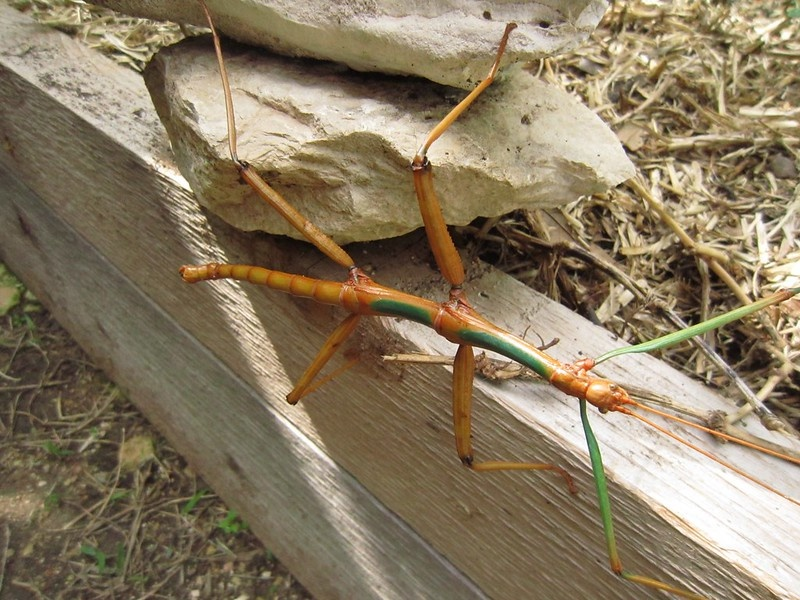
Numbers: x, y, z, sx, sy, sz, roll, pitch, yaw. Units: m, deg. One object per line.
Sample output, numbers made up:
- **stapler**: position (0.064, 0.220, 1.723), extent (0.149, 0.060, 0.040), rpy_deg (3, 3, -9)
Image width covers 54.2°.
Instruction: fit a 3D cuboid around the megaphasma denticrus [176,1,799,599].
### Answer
- **megaphasma denticrus**: position (0.162, -0.001, 2.039), extent (1.680, 0.867, 0.674), rpy_deg (31, 51, 20)
